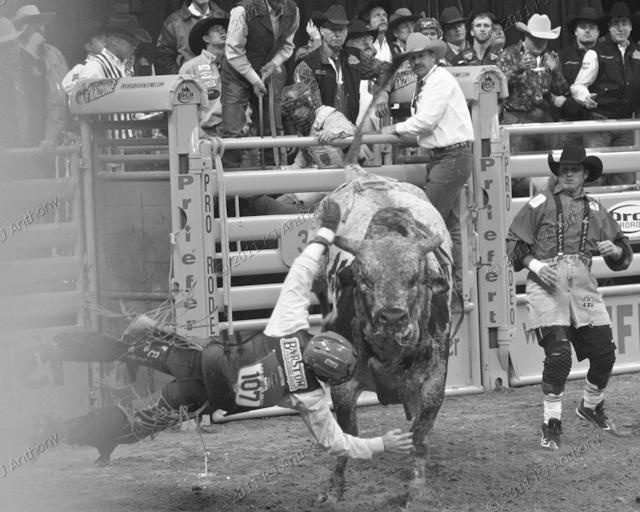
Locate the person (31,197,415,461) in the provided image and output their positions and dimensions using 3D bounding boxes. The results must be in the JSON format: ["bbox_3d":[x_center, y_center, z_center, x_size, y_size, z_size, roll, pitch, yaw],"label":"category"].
[{"bbox_3d":[-0.546,0.582,6.985,2.149,0.418,1.528,-9,45,4],"label":"person"}]

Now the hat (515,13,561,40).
[{"bbox_3d":[2.238,-2.396,11.633,0.429,0.269,0.613,2,11,9],"label":"hat"}]

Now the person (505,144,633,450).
[{"bbox_3d":[2.009,0.262,8.920,0.870,2.276,0.655,-4,12,-19],"label":"person"}]

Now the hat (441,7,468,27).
[{"bbox_3d":[1.442,-2.639,12.301,0.278,0.223,0.341,1,11,6],"label":"hat"}]

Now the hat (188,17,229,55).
[{"bbox_3d":[-1.139,-2.224,11.022,0.373,0.101,0.362,-35,-15,5],"label":"hat"}]

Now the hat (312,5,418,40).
[{"bbox_3d":[0.380,-2.488,11.832,0.824,0.202,0.616,-2,1,-28],"label":"hat"}]

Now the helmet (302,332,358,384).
[{"bbox_3d":[0.093,0.615,6.997,0.368,0.286,0.244,7,45,10],"label":"helmet"}]

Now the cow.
[{"bbox_3d":[0.481,0.483,8.207,1.179,2.595,3.266,3,14,2],"label":"cow"}]

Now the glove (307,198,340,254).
[{"bbox_3d":[0.072,-0.245,7.356,0.155,0.135,0.498,-29,17,26],"label":"glove"}]

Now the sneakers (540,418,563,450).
[{"bbox_3d":[1.792,1.371,8.781,0.158,0.195,0.340,2,11,11],"label":"sneakers"}]

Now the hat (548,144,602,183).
[{"bbox_3d":[2.024,-0.737,8.971,0.402,0.328,0.418,1,11,7],"label":"hat"}]

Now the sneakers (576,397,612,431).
[{"bbox_3d":[2.219,1.304,9.089,0.126,0.146,0.348,6,10,-38],"label":"sneakers"}]
